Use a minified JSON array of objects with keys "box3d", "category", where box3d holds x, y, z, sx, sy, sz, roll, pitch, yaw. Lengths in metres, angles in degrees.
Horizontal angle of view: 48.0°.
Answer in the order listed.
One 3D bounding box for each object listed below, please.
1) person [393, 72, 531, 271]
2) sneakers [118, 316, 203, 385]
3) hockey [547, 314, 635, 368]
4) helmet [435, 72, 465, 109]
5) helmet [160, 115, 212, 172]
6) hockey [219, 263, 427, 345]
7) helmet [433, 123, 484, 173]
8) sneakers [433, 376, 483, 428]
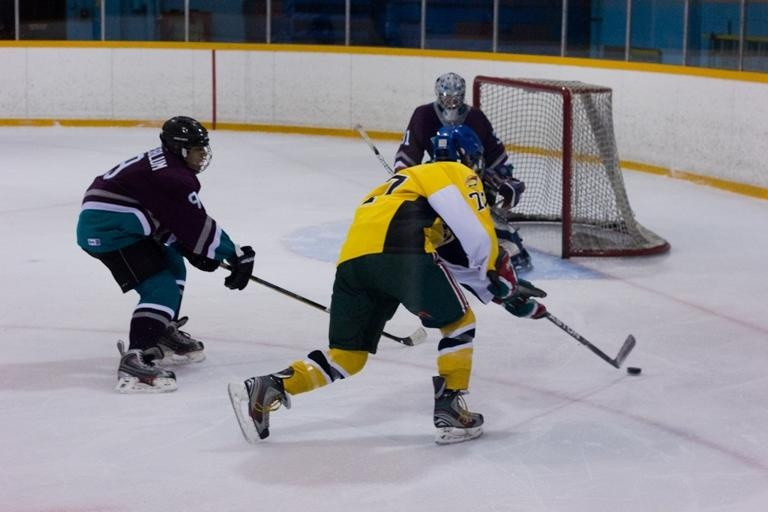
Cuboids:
[{"box3d":[0.391,-0.575,5.764,1.021,1.181,0.837,-3,16,-5],"category":"person"},{"box3d":[-0.982,0.498,4.191,0.560,0.218,0.179,-3,31,-8],"category":"sneakers"},{"box3d":[1.080,0.455,4.530,0.617,0.163,0.048,25,-2,-13],"category":"hockey"},{"box3d":[0.450,-1.120,5.777,0.215,0.216,0.250,-2,21,-2],"category":"helmet"},{"box3d":[-0.947,-0.537,4.173,0.274,0.230,0.190,14,13,7],"category":"helmet"},{"box3d":[-0.321,0.261,4.294,1.313,0.129,0.107,15,0,6],"category":"hockey"},{"box3d":[0.353,-0.489,4.021,0.232,0.188,0.188,-1,2,-39],"category":"helmet"},{"box3d":[0.320,0.653,3.707,0.305,0.252,0.106,10,-14,-41],"category":"sneakers"}]
